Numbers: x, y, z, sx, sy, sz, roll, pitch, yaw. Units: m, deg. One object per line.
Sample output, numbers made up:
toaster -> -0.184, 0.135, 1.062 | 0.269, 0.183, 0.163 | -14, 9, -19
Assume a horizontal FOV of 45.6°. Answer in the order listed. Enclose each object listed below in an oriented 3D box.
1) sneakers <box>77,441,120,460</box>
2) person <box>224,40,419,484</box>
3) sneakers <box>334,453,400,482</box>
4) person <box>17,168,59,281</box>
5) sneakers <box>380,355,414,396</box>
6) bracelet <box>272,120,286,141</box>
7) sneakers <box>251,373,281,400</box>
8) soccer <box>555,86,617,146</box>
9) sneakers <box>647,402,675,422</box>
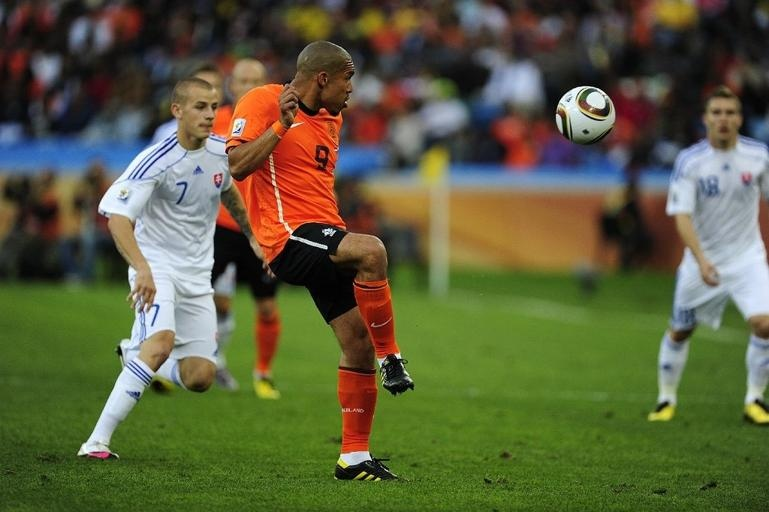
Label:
sneakers -> -2.391, 1.628, 7.641 | 0.239, 0.094, 0.165 | 4, -1, -5
person -> -0.524, 0.013, 7.574 | 1.482, 3.566, 0.570 | 2, 7, 13
sneakers -> -0.157, 1.749, 7.563 | 0.570, 0.229, 0.200 | 2, -7, 1
person -> -6.441, -0.589, 17.161 | 0.807, 2.014, 0.601 | 0, 7, -8
sneakers -> 0.099, 0.941, 7.320 | 0.169, 0.224, 0.407 | -12, 3, -14
bracelet -> -0.824, -1.021, 7.323 | 0.114, 0.143, 0.139 | 7, 9, 41
sneakers -> -1.226, 1.360, 9.526 | 0.186, 0.215, 0.294 | 2, -4, -27
soccer -> 1.852, -1.263, 8.491 | 0.500, 0.533, 0.513 | 7, 5, 1
sneakers -> 2.665, 1.508, 8.784 | 0.242, 0.089, 0.201 | -5, 26, 27
